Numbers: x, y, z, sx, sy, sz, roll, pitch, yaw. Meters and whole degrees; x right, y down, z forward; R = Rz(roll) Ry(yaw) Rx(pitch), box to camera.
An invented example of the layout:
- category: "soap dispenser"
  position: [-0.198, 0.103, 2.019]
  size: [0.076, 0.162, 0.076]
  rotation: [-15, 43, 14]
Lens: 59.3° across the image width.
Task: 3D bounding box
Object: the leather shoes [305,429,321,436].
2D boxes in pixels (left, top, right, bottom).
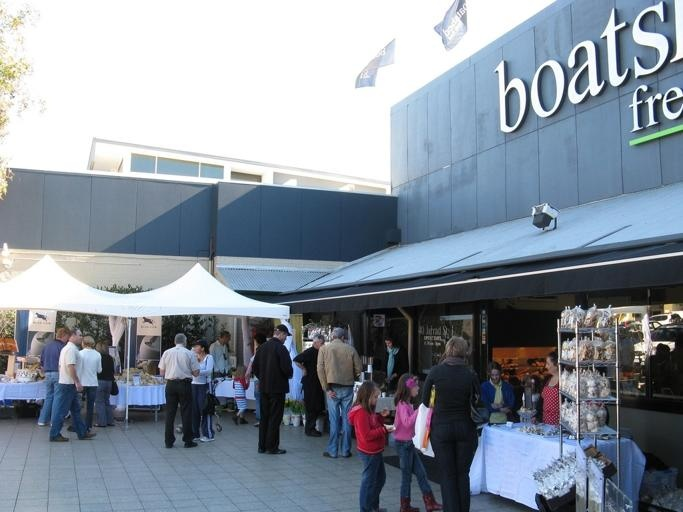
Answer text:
- category: "leather shoes"
  position: [-0.615, 3.384, 11.577]
  size: [0.260, 0.131, 0.123]
  rotation: [-3, -6, 13]

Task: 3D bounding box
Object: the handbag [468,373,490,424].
- category: "handbag"
  position: [1.540, 1.594, 6.758]
  size: [0.150, 0.511, 0.333]
  rotation: [-7, 1, 17]

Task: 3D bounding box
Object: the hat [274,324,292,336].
- category: "hat"
  position: [-1.052, 1.282, 10.527]
  size: [0.316, 0.190, 0.234]
  rotation: [10, -6, -39]

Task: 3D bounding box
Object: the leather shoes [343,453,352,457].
- category: "leather shoes"
  position: [0.060, 3.232, 9.851]
  size: [0.125, 0.075, 0.220]
  rotation: [0, -5, 8]

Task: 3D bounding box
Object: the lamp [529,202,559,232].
- category: "lamp"
  position: [3.645, -0.700, 10.657]
  size: [0.423, 0.532, 0.520]
  rotation: [-1, -5, 23]

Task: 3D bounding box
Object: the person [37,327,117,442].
- category: "person"
  position: [-4.981, 2.307, 11.022]
  size: [0.674, 1.967, 1.142]
  rotation: [1, -4, -3]

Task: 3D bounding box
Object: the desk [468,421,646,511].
- category: "desk"
  position: [2.547, 2.402, 7.765]
  size: [1.222, 0.946, 1.708]
  rotation: [3, -3, -35]

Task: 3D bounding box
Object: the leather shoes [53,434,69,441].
- category: "leather shoes"
  position: [-5.069, 3.181, 10.520]
  size: [0.236, 0.119, 0.103]
  rotation: [2, -2, -14]

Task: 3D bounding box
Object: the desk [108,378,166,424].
- category: "desk"
  position: [-4.526, 3.015, 12.885]
  size: [1.184, 0.876, 1.300]
  rotation: [2, -13, -9]
